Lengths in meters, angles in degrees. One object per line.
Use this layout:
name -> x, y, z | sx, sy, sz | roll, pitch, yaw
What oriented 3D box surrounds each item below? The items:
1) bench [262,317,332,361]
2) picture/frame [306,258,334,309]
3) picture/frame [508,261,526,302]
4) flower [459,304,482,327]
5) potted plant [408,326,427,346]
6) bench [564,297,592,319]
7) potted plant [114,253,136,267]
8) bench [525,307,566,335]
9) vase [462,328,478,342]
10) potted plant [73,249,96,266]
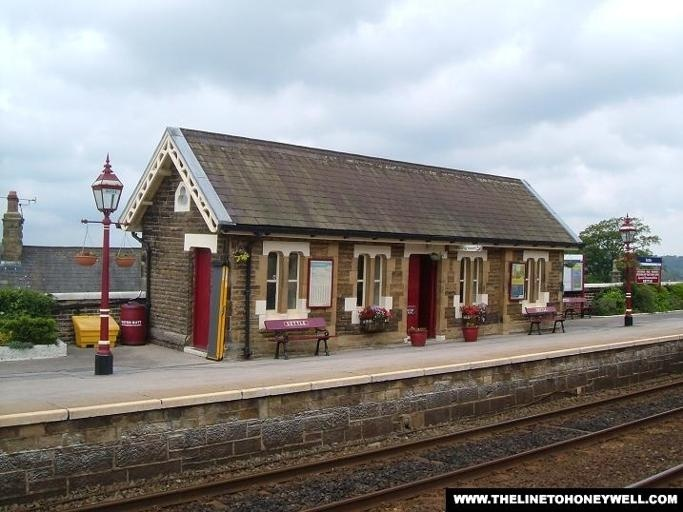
bench -> -1.013, 2.071, 16.533 | 0.614, 0.835, 2.050 | 6, 2, 42
picture/frame -> -0.551, 0.705, 17.098 | 0.198, 1.276, 0.764 | 7, 8, 44
picture/frame -> 5.788, 0.825, 21.623 | 0.119, 1.520, 1.460 | -1, -2, 40
flower -> 4.067, 1.847, 20.405 | 0.642, 0.653, 0.960 | 4, 5, 22
potted plant -> 2.185, 2.302, 18.539 | 0.475, 0.472, 0.398 | 1, 5, -4
bench -> 10.181, 2.236, 28.104 | 1.106, 0.875, 2.458 | 3, 5, 20
potted plant -> -6.162, 0.111, 18.588 | 0.485, 0.294, 0.460 | -1, -1, 2
bench -> 7.087, 2.173, 22.418 | 0.843, 0.913, 2.332 | 6, 7, 44
vase -> 3.918, 2.399, 19.842 | 0.462, 0.308, 0.455 | 0, -5, 17
potted plant -> -8.252, 0.054, 20.915 | 0.813, 0.410, 0.813 | 1, 2, 34
